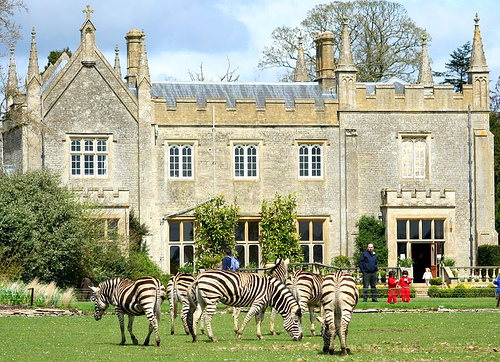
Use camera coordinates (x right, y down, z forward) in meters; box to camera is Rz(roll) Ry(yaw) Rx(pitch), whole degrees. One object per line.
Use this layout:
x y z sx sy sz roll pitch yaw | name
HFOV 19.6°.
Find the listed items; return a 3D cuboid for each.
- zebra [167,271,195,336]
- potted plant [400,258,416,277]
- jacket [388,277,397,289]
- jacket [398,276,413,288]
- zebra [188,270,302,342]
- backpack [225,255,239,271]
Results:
-2.381 4.142 48.547 0.914 2.047 1.034 0 -6 -12 | zebra
7.014 3.899 64.025 0.651 1.034 0.748 0 -2 15 | potted plant
5.565 4.056 56.774 0.414 0.521 0.354 -2 -2 -27 | jacket
6.224 4.091 57.452 0.598 0.650 0.362 0 2 7 | jacket
-0.173 4.147 47.481 3.619 2.393 1.156 0 -7 -4 | zebra
-0.687 3.076 53.343 0.435 0.484 0.474 -3 -1 13 | backpack
